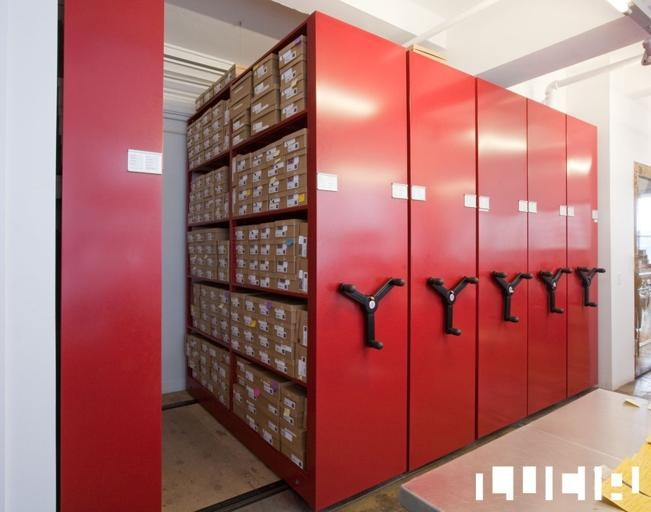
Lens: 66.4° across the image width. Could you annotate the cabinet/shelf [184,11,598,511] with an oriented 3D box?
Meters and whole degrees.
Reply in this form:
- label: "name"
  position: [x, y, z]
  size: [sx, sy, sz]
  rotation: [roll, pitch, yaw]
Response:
- label: "cabinet/shelf"
  position: [0.708, -0.146, 4.183]
  size: [3.859, 2.913, 2.587]
  rotation: [-5, 9, -16]
